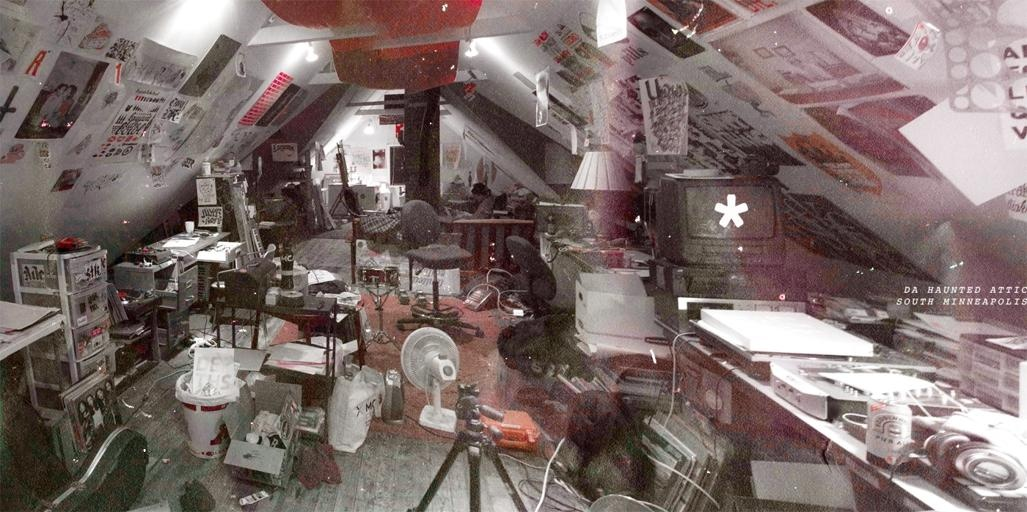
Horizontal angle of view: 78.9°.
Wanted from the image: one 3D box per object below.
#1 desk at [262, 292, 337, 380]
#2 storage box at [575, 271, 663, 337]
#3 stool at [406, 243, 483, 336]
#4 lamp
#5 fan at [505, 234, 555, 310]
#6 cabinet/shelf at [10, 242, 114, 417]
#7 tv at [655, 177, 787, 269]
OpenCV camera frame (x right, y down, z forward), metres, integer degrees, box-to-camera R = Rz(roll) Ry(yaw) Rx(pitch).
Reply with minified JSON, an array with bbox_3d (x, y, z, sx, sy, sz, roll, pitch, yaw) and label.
[{"bbox_3d":[-1.237,0.440,3.588,0.547,0.422,0.189,5,19,10],"label":"desk"},{"bbox_3d":[0.620,0.297,3.686,0.466,0.238,0.421,2,3,2],"label":"storage box"},{"bbox_3d":[-0.518,0.165,3.646,0.488,0.400,0.495,-8,14,-35],"label":"stool"},{"bbox_3d":[0.501,-0.360,3.549,0.303,0.491,0.157,3,-5,-23],"label":"lamp"},{"bbox_3d":[0.110,0.104,3.531,0.286,0.417,0.100,4,-5,-37],"label":"fan"},{"bbox_3d":[-2.943,0.460,3.938,0.529,0.970,0.377,1,7,-15],"label":"cabinet/shelf"},{"bbox_3d":[1.132,-0.170,3.473,0.617,0.429,0.547,-1,4,4],"label":"tv"}]
